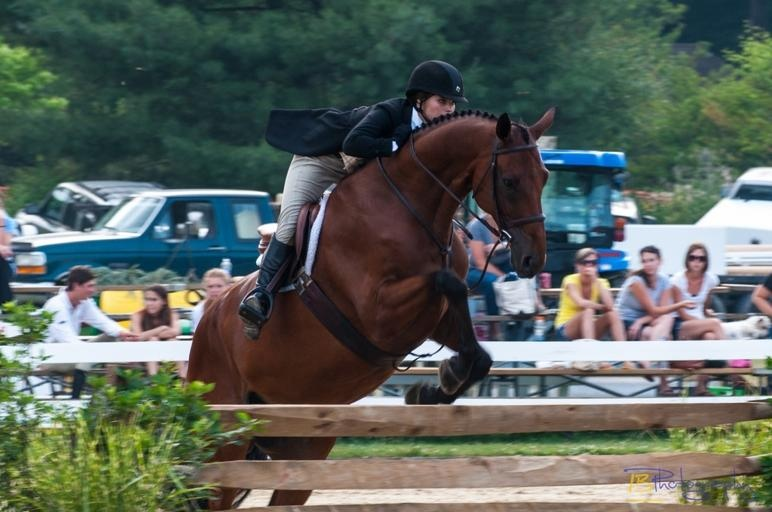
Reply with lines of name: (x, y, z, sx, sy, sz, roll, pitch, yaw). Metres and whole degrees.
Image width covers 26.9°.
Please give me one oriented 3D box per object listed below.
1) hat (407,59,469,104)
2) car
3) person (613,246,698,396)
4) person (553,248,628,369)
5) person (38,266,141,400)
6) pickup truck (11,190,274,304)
hat: (0.563, -1.945, 17.938, 0.691, 0.276, 0.468, 4, 5, 29)
car: (-4.707, -0.727, 23.766, 1.885, 0.669, 1.006, 5, 5, 29)
person: (3.416, 0.515, 21.050, 0.768, 1.122, 0.682, -14, 23, -28)
person: (2.592, 0.517, 21.059, 0.865, 1.074, 0.787, -6, 20, -10)
person: (-3.995, 0.955, 20.752, 0.893, 1.523, 1.053, 15, 26, 40)
pickup truck: (-3.534, -0.224, 22.449, 2.989, 1.094, 1.646, 1, -3, -20)
